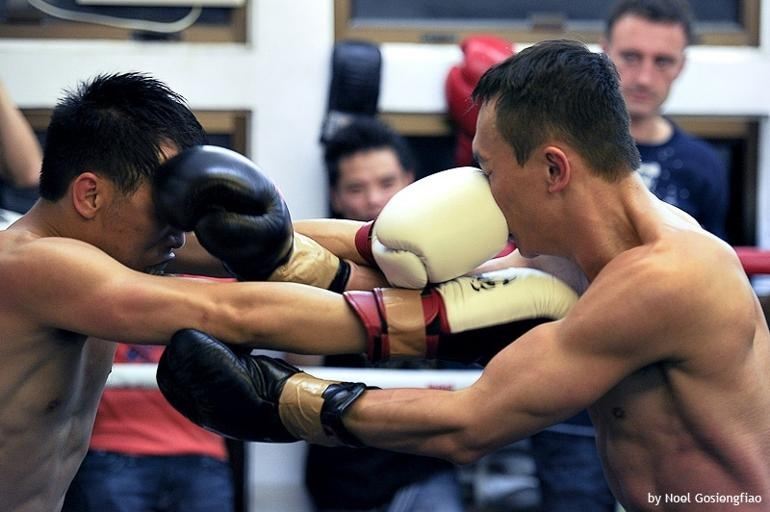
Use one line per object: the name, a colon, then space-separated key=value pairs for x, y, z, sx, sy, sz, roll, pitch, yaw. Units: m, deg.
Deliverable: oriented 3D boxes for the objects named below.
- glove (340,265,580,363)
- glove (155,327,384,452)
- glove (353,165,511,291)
glove: x=0.298 y=0.231 z=3.896 sx=0.891 sy=0.336 sz=0.410 roll=-4 pitch=12 yaw=-4
glove: x=-0.379 y=0.444 z=3.713 sx=0.660 sy=0.240 sz=0.377 roll=6 pitch=5 yaw=-16
glove: x=0.180 y=-0.096 z=3.744 sx=0.475 sy=0.235 sz=0.343 roll=-22 pitch=59 yaw=-12
